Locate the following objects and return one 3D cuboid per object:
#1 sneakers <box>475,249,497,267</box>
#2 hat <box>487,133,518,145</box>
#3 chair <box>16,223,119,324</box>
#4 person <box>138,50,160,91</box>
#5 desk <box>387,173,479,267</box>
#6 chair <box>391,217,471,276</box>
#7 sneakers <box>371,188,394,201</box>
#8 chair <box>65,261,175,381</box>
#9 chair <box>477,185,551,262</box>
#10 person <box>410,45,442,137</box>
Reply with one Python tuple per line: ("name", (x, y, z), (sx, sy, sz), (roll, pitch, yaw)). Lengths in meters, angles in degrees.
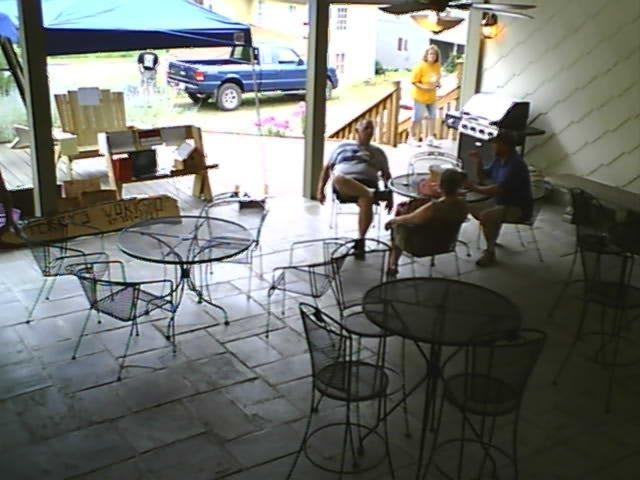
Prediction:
("sneakers", (2.051, 0.215, 6.301), (0.308, 0.127, 0.139), (-13, 18, -43))
("hat", (2.169, -1.181, 5.993), (0.212, 0.121, 0.172), (13, 13, 38))
("chair", (-2.730, 0.179, 5.282), (0.887, 1.129, 1.003), (-13, 28, -30))
("person", (-5.744, -5.609, 17.079), (0.613, 1.304, 1.728), (-10, 23, -17))
("desk", (1.214, -0.216, 5.585), (0.774, 1.237, 0.746), (-10, 34, -13))
("chair", (1.233, -0.003, 5.523), (0.687, 0.780, 0.640), (-7, 26, -14))
("sneakers", (0.748, -0.546, 6.223), (0.166, 0.112, 0.163), (-13, 22, -32))
("chair", (-1.862, 0.774, 4.690), (0.731, 0.749, 0.619), (15, 22, 30))
("chair", (2.675, -0.219, 6.750), (0.842, 1.112, 0.789), (0, 20, -10))
("person", (2.162, -2.963, 10.477), (0.561, 1.904, 0.483), (2, 23, 10))
